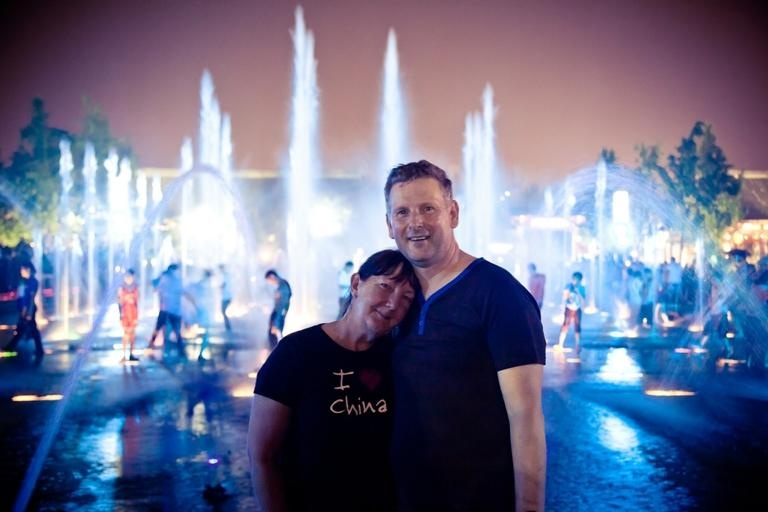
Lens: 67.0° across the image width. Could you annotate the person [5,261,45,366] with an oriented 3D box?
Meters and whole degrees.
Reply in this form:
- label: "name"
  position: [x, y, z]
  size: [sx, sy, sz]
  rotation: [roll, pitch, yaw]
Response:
- label: "person"
  position: [-10.045, 1.496, 16.114]
  size: [0.870, 2.512, 1.206]
  rotation: [-4, 6, -43]
